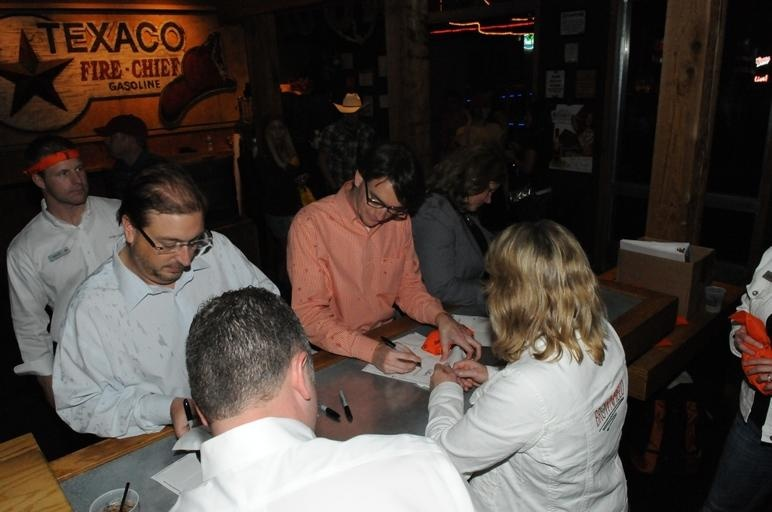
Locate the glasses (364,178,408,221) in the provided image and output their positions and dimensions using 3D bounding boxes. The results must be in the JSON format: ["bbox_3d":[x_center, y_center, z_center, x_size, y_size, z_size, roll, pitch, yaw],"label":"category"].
[{"bbox_3d":[-0.006,-0.312,2.930,0.253,0.244,0.164,-3,18,-9],"label":"glasses"}]

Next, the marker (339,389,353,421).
[{"bbox_3d":[-0.188,0.681,2.303,0.031,0.027,0.222,-12,25,-9],"label":"marker"}]

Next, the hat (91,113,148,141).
[{"bbox_3d":[-2.582,-1.258,4.905,0.421,0.252,0.305,16,10,-19],"label":"hat"}]

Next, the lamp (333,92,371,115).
[{"bbox_3d":[-0.404,-1.653,5.546,0.218,0.106,0.251,31,39,34],"label":"lamp"}]

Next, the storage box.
[{"bbox_3d":[1.830,0.214,3.592,0.483,0.295,0.353,11,57,18],"label":"storage box"}]

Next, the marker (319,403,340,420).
[{"bbox_3d":[-0.258,0.701,2.286,0.144,0.043,0.037,11,36,40],"label":"marker"}]

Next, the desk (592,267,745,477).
[{"bbox_3d":[1.686,0.708,3.066,0.548,0.683,1.044,15,37,33],"label":"desk"}]

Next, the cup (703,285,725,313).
[{"bbox_3d":[2.305,0.290,3.585,0.160,0.175,0.162,1,7,0],"label":"cup"}]
